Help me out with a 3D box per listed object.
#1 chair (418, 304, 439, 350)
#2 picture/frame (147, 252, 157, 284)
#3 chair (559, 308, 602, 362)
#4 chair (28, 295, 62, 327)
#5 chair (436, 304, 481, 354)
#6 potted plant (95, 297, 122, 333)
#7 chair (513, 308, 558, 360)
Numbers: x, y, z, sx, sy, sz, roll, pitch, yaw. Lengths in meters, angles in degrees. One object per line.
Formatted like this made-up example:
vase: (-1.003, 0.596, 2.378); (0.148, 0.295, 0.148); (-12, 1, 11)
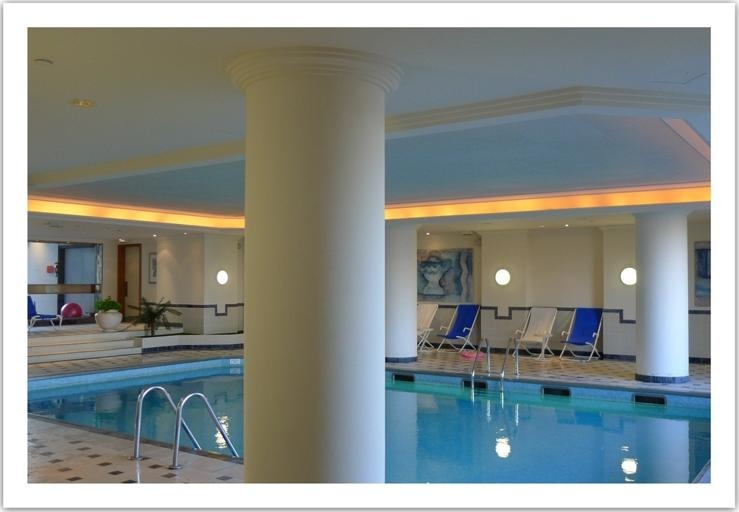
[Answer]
chair: (1.731, 2.077, 15.968); (0.638, 1.303, 1.343); (0, 0, 6)
picture/frame: (-7.483, 0.393, 18.637); (0.081, 1.151, 1.029); (6, -9, -43)
chair: (5.394, 1.993, 13.772); (0.999, 1.273, 1.408); (0, 0, 22)
chair: (-9.599, 1.693, 15.844); (0.941, 0.781, 0.655); (9, -6, -31)
chair: (2.506, 2.025, 15.127); (0.841, 1.157, 1.232); (-3, 1, 39)
potted plant: (-7.451, 1.690, 15.428); (0.605, 0.915, 0.635); (-1, 1, -28)
chair: (4.323, 2.078, 14.193); (0.939, 1.178, 1.283); (-1, 13, 38)
